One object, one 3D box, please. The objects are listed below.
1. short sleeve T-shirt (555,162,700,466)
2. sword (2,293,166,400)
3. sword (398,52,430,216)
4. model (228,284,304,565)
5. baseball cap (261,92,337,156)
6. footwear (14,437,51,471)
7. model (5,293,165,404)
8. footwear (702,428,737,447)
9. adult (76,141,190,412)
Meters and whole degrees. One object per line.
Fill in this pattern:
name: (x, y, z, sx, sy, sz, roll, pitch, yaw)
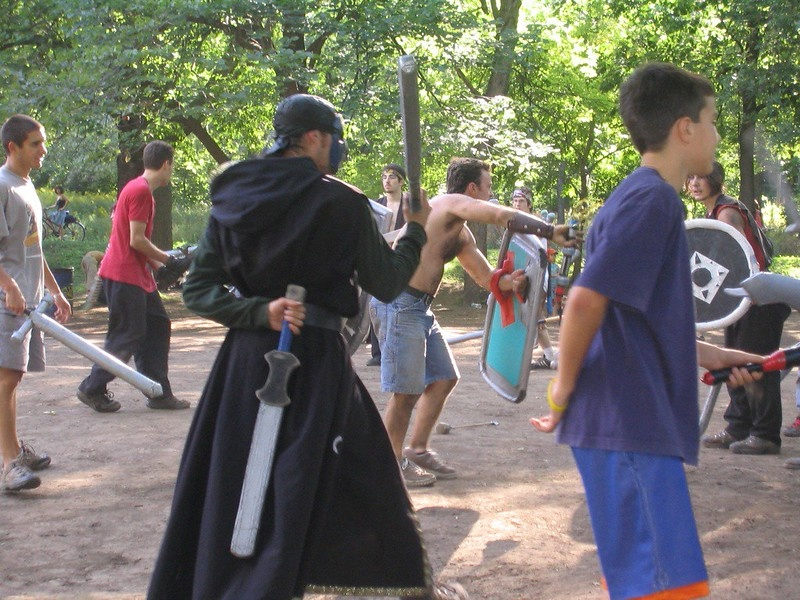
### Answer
short sleeve T-shirt: (1.046, 0.072, 4.354, 0.759, 1.318, 1.020, 1, -3, 4)
sword: (-1.703, 0.290, 5.103, 1.039, 0.304, 0.132, 25, -24, 21)
sword: (0.062, -0.782, 4.411, 0.106, 0.720, 0.079, -10, 27, -14)
model: (-0.615, 0.639, 4.209, 0.196, 1.055, 0.294, 4, 5, 13)
baseball cap: (-0.496, -0.851, 4.499, 0.407, 0.292, 0.282, -10, 17, -19)
footwear: (-2.650, 1.131, 6.603, 0.122, 0.146, 0.367, -17, 12, -42)
model: (-2.624, 0.444, 7.689, 1.646, 0.230, 0.497, 26, 34, 22)
footwear: (2.593, 1.139, 7.545, 0.305, 0.126, 0.103, 5, -1, 9)
adult: (-2.386, -0.181, 8.444, 0.801, 2.457, 1.106, 3, 1, 34)
